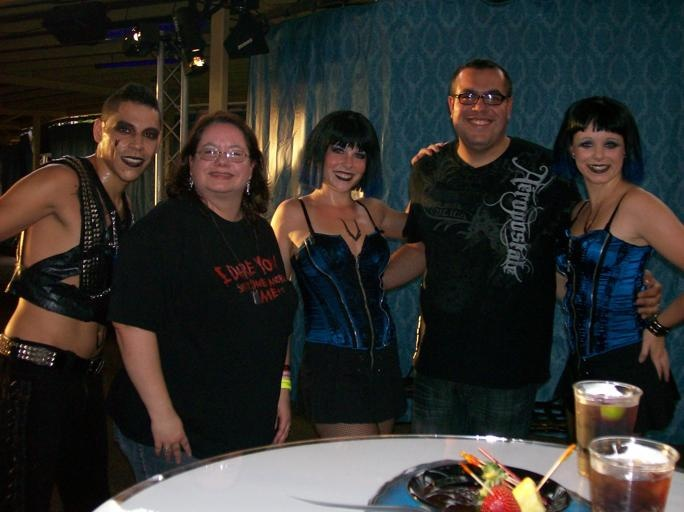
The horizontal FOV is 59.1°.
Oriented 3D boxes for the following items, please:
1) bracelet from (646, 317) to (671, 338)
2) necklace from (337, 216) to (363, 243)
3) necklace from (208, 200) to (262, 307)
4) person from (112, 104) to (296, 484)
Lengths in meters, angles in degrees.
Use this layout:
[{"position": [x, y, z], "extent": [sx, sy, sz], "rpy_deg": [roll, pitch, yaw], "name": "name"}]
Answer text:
[{"position": [1.290, 0.289, 2.450], "extent": [0.075, 0.057, 0.077], "rpy_deg": [2, 0, 20], "name": "bracelet"}, {"position": [0.051, -0.115, 2.872], "extent": [0.072, 0.125, 0.027], "rpy_deg": [-4, -31, -35], "name": "necklace"}, {"position": [-0.422, 0.008, 2.339], "extent": [0.042, 0.055, 0.512], "rpy_deg": [-16, 58, -28], "name": "necklace"}, {"position": [-0.519, 0.135, 2.348], "extent": [0.726, 1.366, 0.442], "rpy_deg": [-5, 11, -26], "name": "person"}]
